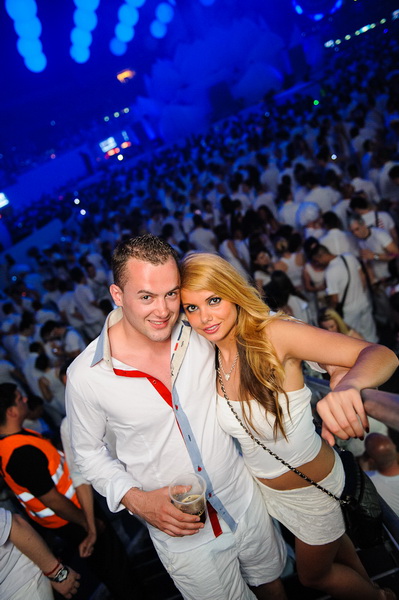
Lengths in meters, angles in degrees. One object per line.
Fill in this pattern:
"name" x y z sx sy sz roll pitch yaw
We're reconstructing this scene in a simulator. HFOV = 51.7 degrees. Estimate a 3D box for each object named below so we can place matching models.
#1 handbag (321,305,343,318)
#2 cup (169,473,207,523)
"handbag" 1.112 0.088 3.431 0.186 0.061 0.137 -3 -2 23
"cup" -0.025 0.678 1.399 0.119 0.119 0.154 -22 20 -6
